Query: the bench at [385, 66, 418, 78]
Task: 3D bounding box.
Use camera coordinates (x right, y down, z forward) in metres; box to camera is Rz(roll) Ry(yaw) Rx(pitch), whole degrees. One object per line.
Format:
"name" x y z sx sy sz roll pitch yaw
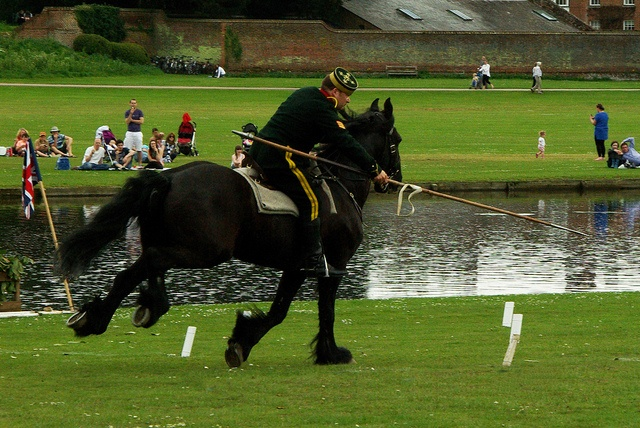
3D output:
"bench" 5.804 -10.311 111.948 2.684 0.892 1.606 -2 3 -44

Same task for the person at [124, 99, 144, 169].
"person" -8.543 -3.644 71.211 1.226 2.985 1.066 -4 -1 -10
